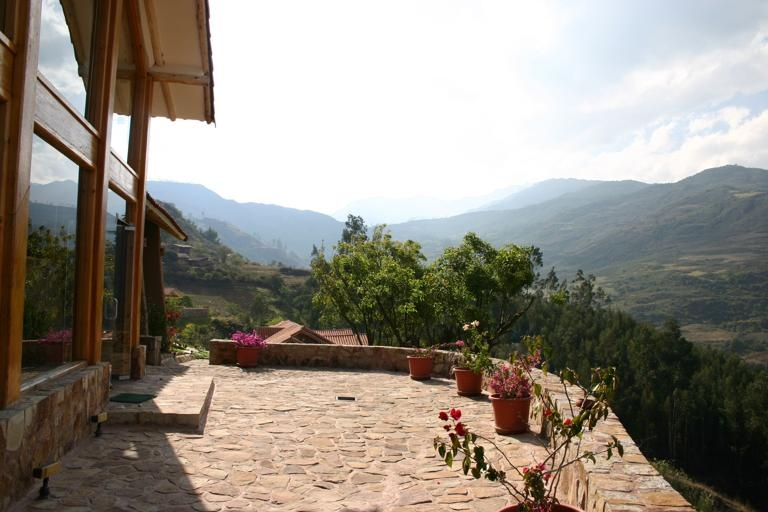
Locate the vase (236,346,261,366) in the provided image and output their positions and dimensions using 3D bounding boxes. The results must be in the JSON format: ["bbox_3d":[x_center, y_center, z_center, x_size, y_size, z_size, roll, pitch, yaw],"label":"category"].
[{"bbox_3d":[-3.613,2.663,12.847,0.540,0.429,0.555,-3,-9,27],"label":"vase"}]

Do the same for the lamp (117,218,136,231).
[{"bbox_3d":[-4.942,-0.600,9.225,0.196,0.098,0.223,22,-3,-36],"label":"lamp"}]

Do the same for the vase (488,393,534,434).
[{"bbox_3d":[2.046,2.563,7.851,0.709,0.536,0.701,4,-9,-30],"label":"vase"}]

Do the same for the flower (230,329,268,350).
[{"bbox_3d":[-3.683,2.310,13.047,0.819,0.446,0.716,-4,-2,19],"label":"flower"}]

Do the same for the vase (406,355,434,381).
[{"bbox_3d":[0.869,2.757,11.921,0.556,0.419,0.570,-1,-7,16],"label":"vase"}]

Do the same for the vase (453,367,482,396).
[{"bbox_3d":[1.756,2.609,10.129,0.624,0.500,0.649,-1,-5,14],"label":"vase"}]

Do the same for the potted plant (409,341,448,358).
[{"bbox_3d":[1.034,2.447,12.260,0.748,0.278,0.497,-3,-3,11],"label":"potted plant"}]
